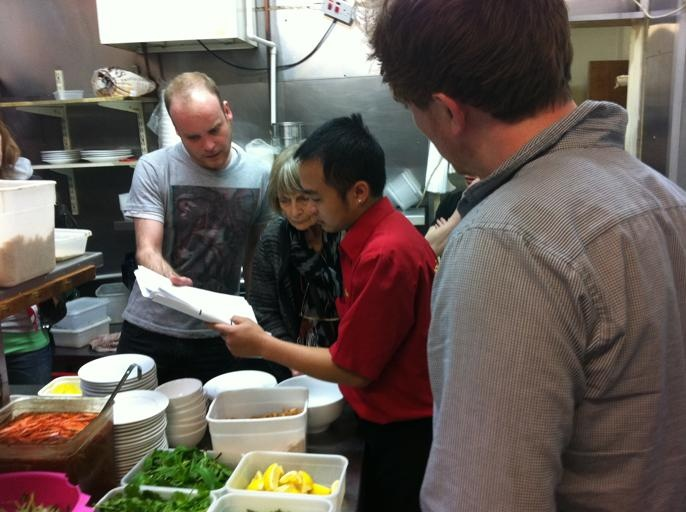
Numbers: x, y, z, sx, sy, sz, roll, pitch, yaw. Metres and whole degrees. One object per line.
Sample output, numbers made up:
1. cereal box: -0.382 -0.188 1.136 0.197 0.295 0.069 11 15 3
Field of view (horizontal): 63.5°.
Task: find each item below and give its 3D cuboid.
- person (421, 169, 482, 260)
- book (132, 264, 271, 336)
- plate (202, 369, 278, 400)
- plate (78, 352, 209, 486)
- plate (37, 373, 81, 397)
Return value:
1. person: 0.572 -0.241 2.773 0.227 0.231 0.783 -33 6 28
2. book: -0.438 0.134 1.654 0.251 0.064 0.248 12 9 -43
3. plate: -0.338 0.399 1.767 0.121 0.052 0.120 -3 5 -41
4. plate: -0.616 0.444 1.610 0.276 0.125 0.371 -8 9 -44
5. plate: -0.885 0.407 1.723 0.111 0.036 0.204 -9 13 -28
